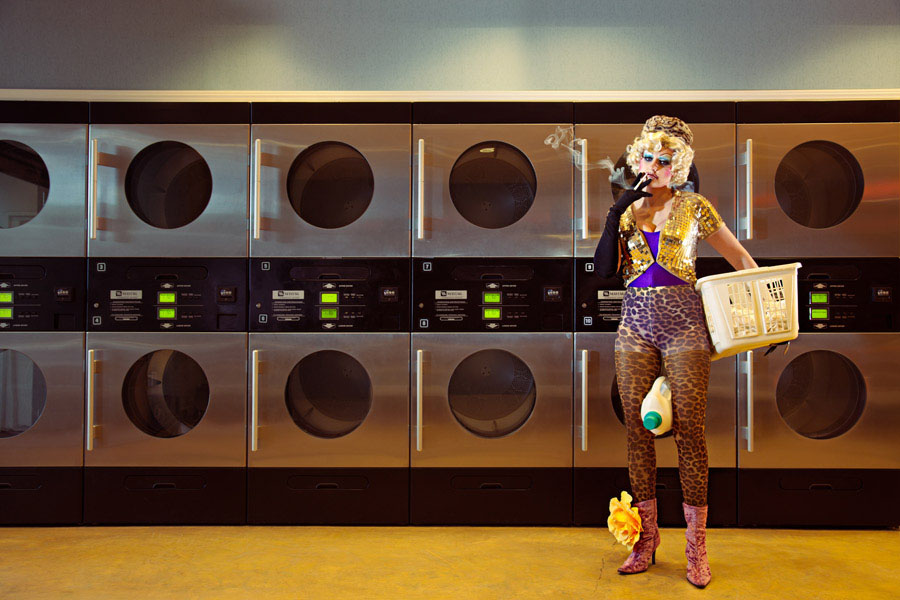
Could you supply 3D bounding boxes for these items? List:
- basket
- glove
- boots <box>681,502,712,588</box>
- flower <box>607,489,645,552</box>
[{"bbox_3d":[1.605,0.047,4.611,0.581,0.356,0.384,-7,-11,-5],"label":"basket"},{"bbox_3d":[0.930,-0.396,4.660,0.159,0.513,0.268,3,-4,-31],"label":"glove"},{"bbox_3d":[1.363,1.341,4.713,0.138,0.460,0.210,-1,-4,18],"label":"boots"},{"bbox_3d":[0.970,1.212,4.726,0.172,0.323,0.137,0,-4,12],"label":"flower"}]
